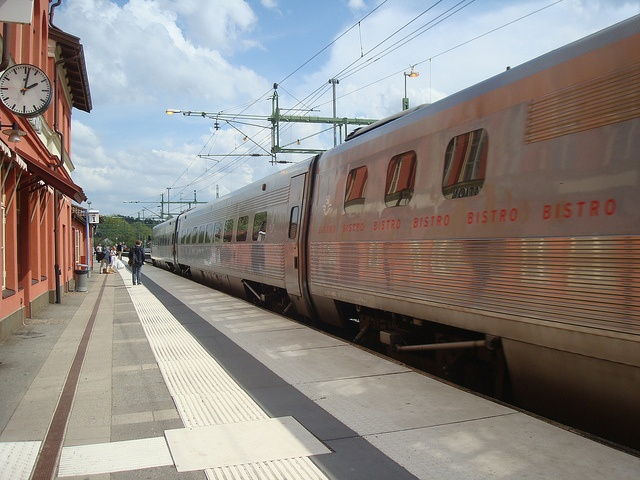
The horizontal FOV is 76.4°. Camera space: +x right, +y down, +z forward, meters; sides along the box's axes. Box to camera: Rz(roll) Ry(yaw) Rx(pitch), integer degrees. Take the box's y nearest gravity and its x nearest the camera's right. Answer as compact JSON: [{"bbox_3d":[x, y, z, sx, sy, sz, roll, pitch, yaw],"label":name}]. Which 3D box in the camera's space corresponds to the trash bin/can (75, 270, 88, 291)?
[{"bbox_3d":[-9.872,1.644,16.738,0.390,0.847,0.928,-1,2,-34],"label":"trash bin/can"}]
